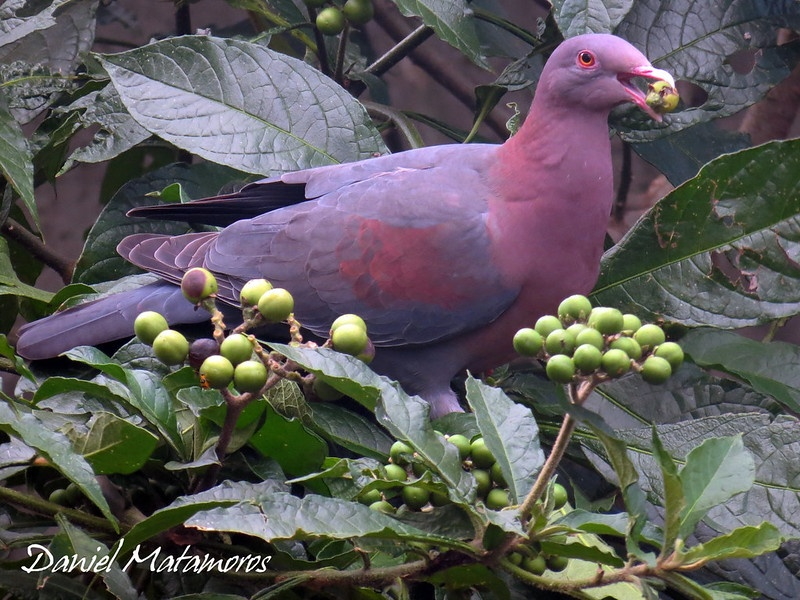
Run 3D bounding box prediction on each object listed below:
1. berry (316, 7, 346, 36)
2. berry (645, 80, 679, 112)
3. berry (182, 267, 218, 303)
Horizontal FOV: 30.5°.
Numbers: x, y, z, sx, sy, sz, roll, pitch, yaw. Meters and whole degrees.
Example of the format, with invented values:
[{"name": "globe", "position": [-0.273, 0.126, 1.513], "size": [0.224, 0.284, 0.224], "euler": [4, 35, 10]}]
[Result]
[{"name": "berry", "position": [-0.119, -0.485, 2.566], "size": [0.053, 0.050, 0.048], "euler": [4, 13, 6]}, {"name": "berry", "position": [0.399, -0.305, 2.208], "size": [0.049, 0.037, 0.050], "euler": [3, 8, -4]}, {"name": "berry", "position": [-0.254, -0.019, 1.858], "size": [0.049, 0.045, 0.045], "euler": [2, 6, 31]}]
